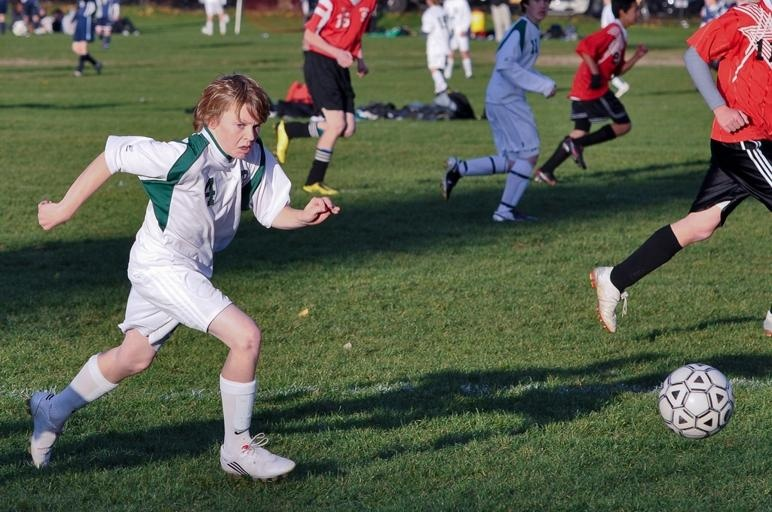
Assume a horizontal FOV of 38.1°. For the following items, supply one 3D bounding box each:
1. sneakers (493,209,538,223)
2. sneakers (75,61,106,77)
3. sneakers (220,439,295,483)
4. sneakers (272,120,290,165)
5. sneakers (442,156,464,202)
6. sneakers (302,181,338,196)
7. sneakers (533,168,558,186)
[{"bbox_3d":[1.476,-0.460,12.763,0.484,0.196,0.189,-3,16,-7],"label":"sneakers"},{"bbox_3d":[-2.496,-1.588,9.499,0.230,0.074,0.158,3,44,7],"label":"sneakers"},{"bbox_3d":[-0.896,1.455,8.034,0.598,0.281,0.235,4,45,8],"label":"sneakers"},{"bbox_3d":[-1.330,-1.511,14.866,0.222,0.639,0.290,-5,10,-20],"label":"sneakers"},{"bbox_3d":[0.776,-0.897,12.793,0.229,0.509,0.177,13,9,4],"label":"sneakers"},{"bbox_3d":[-0.807,-0.830,13.835,0.437,0.177,0.158,3,12,1],"label":"sneakers"},{"bbox_3d":[2.024,-0.993,14.047,0.391,0.196,0.137,14,18,-41],"label":"sneakers"}]
